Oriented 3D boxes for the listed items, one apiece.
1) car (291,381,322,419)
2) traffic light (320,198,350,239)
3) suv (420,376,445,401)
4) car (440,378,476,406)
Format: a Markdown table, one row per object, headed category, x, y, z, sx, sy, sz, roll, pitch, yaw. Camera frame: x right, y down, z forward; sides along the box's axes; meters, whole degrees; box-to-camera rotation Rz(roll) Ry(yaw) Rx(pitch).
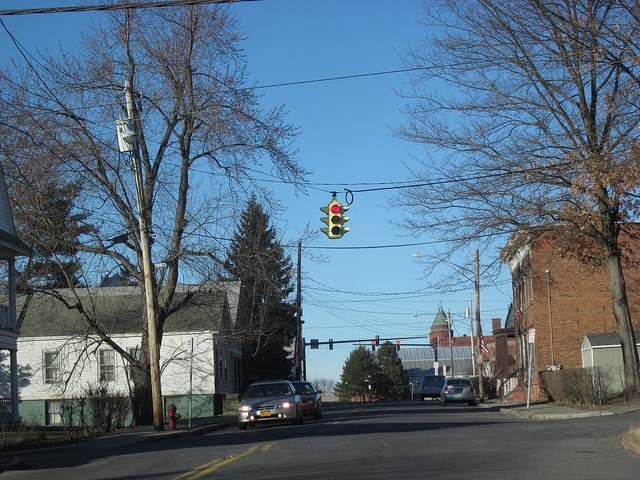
| category | x | y | z | sx | sy | sz | roll | pitch | yaw |
| --- | --- | --- | --- | --- | --- | --- | --- | --- | --- |
| car | -0.476 | 7.289 | 44.093 | 1.049 | 0.967 | 2.518 | -1 | -10 | 3 |
| traffic light | 0.616 | -0.769 | 36.484 | 0.910 | 1.317 | 0.423 | -3 | -16 | -3 |
| suv | 8.931 | 11.682 | 76.061 | 1.586 | 1.490 | 2.766 | 1 | -4 | 4 |
| car | 8.076 | 8.918 | 56.767 | 2.130 | 1.808 | 1.340 | 0 | -17 | -13 |
